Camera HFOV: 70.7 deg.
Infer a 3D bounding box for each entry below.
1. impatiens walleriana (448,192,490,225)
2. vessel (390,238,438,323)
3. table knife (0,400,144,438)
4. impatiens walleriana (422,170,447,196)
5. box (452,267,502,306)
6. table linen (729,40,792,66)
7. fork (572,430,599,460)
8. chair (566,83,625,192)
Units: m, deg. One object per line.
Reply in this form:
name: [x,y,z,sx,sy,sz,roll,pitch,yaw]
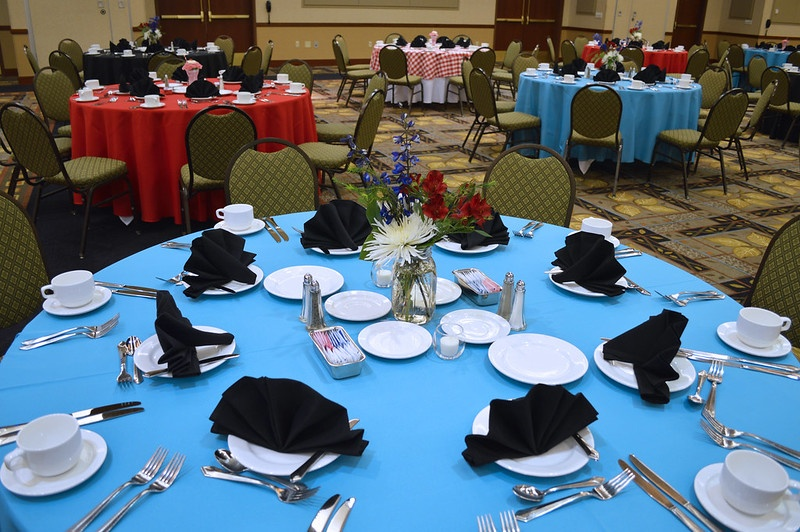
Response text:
impatiens walleriana: [0.251,-0.186,1.991,0.107,0.074,0.120,3,34,4]
vessel: [0.045,0.045,2.115,0.209,0.402,0.222,-1,15,-4]
table knife: [-0.966,0.453,1.660,0.323,0.030,0.042,-6,54,-25]
impatiens walleriana: [0.118,-0.303,1.931,0.079,0.072,0.157,2,28,2]
box: [0.302,0.066,2.224,0.097,0.061,0.174,-7,24,-18]
table linen: [7.017,-4.050,10.914,1.018,0.289,1.103,6,18,20]
fork: [0.533,0.516,1.618,0.032,0.017,0.104,-9,22,-8]
chair: [1.936,-1.302,5.582,0.554,1.028,0.596,10,27,18]
